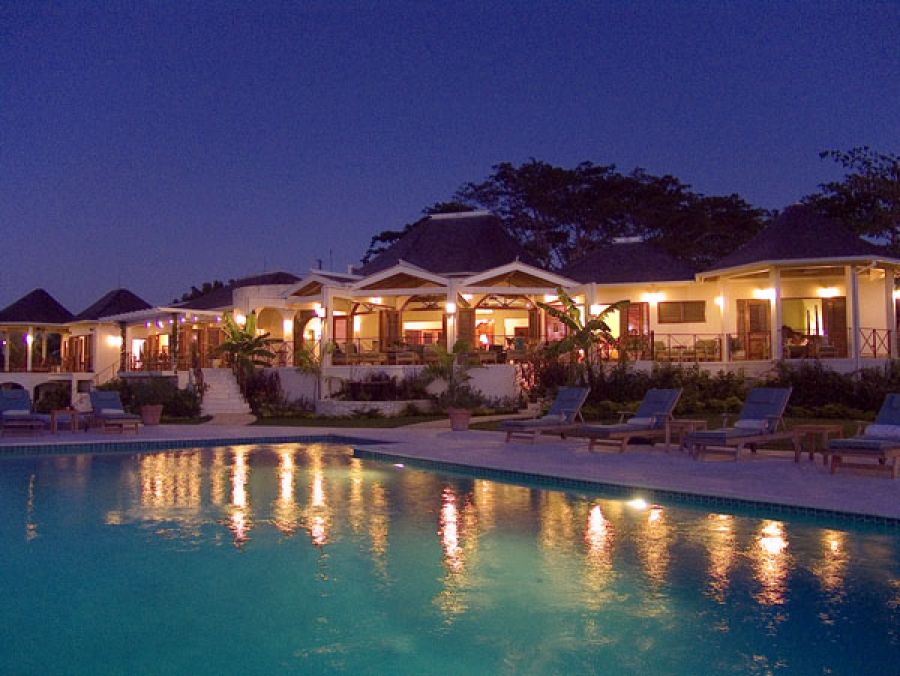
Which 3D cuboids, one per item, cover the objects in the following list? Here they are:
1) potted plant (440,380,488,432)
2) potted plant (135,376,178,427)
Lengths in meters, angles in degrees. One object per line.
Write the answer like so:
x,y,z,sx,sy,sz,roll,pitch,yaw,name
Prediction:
0.269,2.261,28.359,1.189,1.431,1.263,2,-1,-18,potted plant
-10.252,2.155,28.233,1.443,1.679,1.482,3,-4,-16,potted plant
